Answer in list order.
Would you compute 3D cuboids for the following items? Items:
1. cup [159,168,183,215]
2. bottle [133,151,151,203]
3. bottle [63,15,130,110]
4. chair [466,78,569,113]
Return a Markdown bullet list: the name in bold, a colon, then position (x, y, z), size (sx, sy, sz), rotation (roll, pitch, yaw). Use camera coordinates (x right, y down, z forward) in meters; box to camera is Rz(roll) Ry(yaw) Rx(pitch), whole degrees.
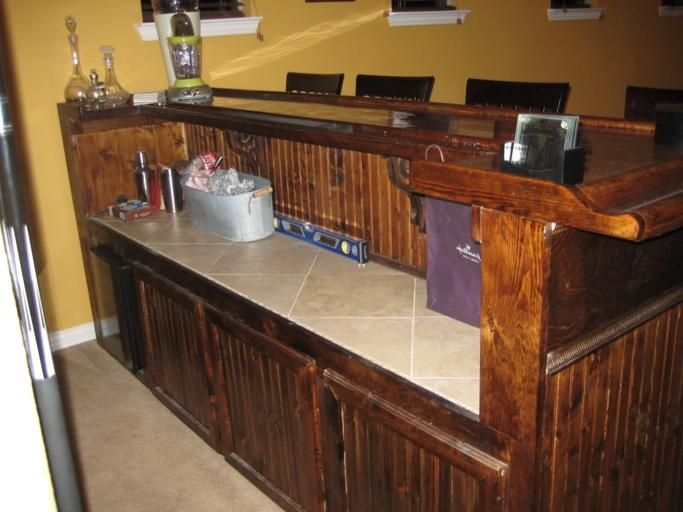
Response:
- **cup**: position (-0.786, -0.306, 2.533), size (0.094, 0.204, 0.097), rotation (-3, 21, 1)
- **bottle**: position (-0.951, -0.376, 2.623), size (0.072, 0.225, 0.124), rotation (-6, 21, -6)
- **bottle**: position (-1.216, -0.947, 2.683), size (0.291, 0.413, 0.413), rotation (-20, 27, -35)
- **chair**: position (0.751, -0.691, 2.370), size (0.212, 0.107, 0.595), rotation (-10, 23, -16)
